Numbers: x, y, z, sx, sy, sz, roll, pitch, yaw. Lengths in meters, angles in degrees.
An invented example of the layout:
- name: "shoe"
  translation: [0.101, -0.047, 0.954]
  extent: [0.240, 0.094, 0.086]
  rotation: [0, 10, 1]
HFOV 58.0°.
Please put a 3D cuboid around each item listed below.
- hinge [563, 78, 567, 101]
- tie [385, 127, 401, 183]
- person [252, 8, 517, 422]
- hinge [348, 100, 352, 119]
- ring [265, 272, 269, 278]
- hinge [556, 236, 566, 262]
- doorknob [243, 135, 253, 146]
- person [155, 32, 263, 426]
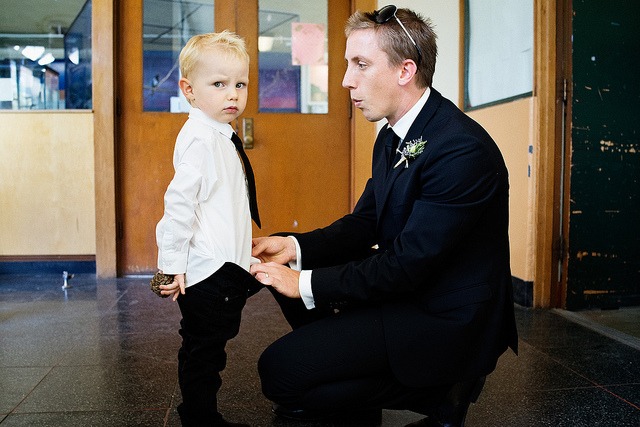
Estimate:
- name: "hinge"
  translation: [1.711, -0.864, 4.037]
  extent: [0.024, 0.151, 0.014]
  rotation: [2, 7, 7]
- name: "tie"
  translation: [0.360, -0.304, 2.913]
  extent: [0.055, 0.293, 0.076]
  rotation: [4, -8, 20]
- name: "person"
  translation: [0.365, 0.066, 2.752]
  extent: [1.151, 2.065, 0.472]
  rotation: [3, 7, 16]
- name: "hinge"
  translation: [0.263, -0.903, 5.030]
  extent: [0.014, 0.155, 0.046]
  rotation: [-5, 9, -42]
- name: "ring"
  translation: [-0.250, 0.290, 2.712]
  extent: [0.018, 0.022, 0.010]
  rotation: [1, 7, -4]
- name: "hinge"
  translation: [1.718, 0.259, 4.116]
  extent: [0.065, 0.173, 0.018]
  rotation: [1, 7, -5]
- name: "doorknob"
  translation: [-0.620, -0.625, 4.954]
  extent: [0.108, 0.101, 0.026]
  rotation: [0, 1, -6]
- name: "person"
  translation: [-0.536, 0.073, 2.826]
  extent: [0.489, 1.885, 0.358]
  rotation: [0, 7, -10]
